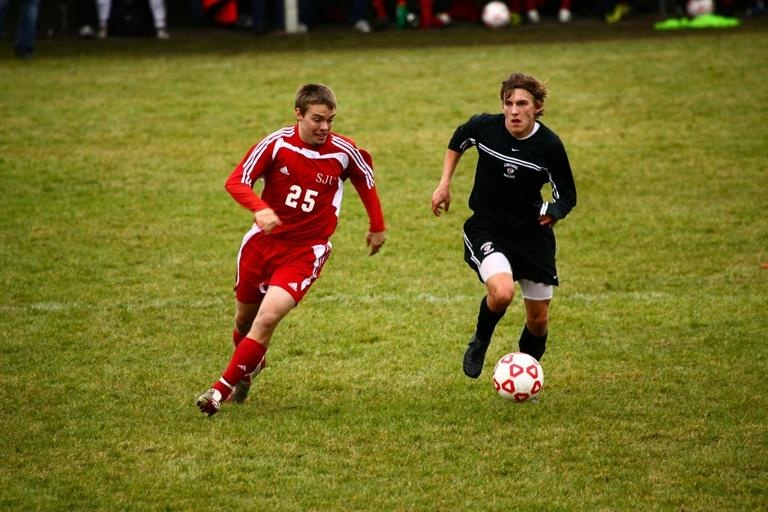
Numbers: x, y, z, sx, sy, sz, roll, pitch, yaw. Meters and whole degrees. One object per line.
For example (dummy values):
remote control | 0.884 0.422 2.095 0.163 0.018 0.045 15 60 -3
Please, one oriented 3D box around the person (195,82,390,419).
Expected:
person | -0.661 -0.064 7.877 1.290 2.314 0.543 0 12 -12

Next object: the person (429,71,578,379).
person | 0.880 -0.183 8.056 0.969 2.298 0.621 4 12 4

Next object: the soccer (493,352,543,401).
soccer | 0.944 0.865 7.981 0.352 0.335 0.348 17 -7 -9

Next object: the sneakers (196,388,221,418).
sneakers | -1.233 1.040 7.731 0.137 0.114 0.221 -6 -5 -32

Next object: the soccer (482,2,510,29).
soccer | 1.541 -3.373 15.535 0.363 0.417 0.361 2 -5 -1

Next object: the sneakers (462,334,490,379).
sneakers | 0.664 0.767 8.266 0.138 0.379 0.165 11 0 -6
